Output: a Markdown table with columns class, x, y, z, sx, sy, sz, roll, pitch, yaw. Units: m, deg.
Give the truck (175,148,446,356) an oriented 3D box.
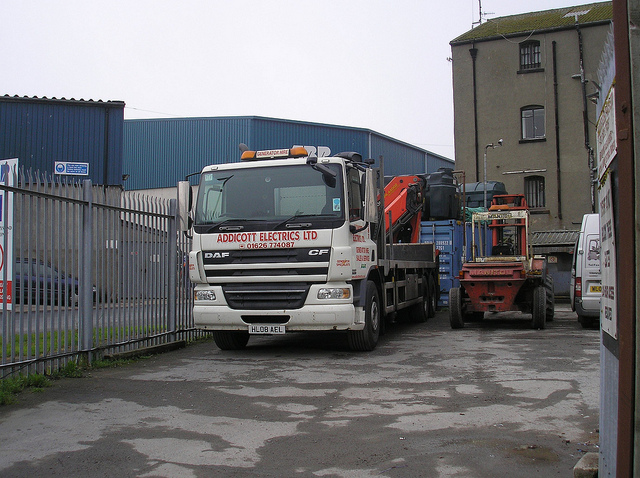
| class | x | y | z | sx | sy | sz | roll | pitch | yaw |
| --- | --- | --- | --- | --- | --- | --- | --- | --- | --- |
| truck | 0.197 | 0.194 | 12.603 | 2.741 | 3.963 | 5.262 | 0 | -1 | 30 |
